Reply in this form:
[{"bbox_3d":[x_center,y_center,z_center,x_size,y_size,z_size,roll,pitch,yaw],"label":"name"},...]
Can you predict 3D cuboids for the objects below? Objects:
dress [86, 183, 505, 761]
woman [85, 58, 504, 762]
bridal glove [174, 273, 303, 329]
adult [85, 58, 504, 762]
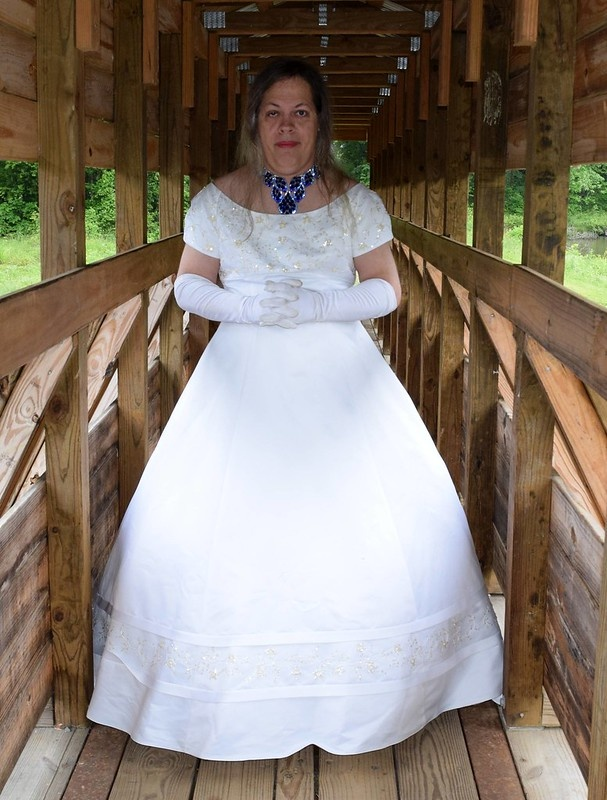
[{"bbox_3d":[0.011,0.253,1.822,1.090,1.971,0.992,-1,-27,3],"label":"dress"},{"bbox_3d":[0.015,-0.056,1.581,0.828,1.678,0.818,-1,7,-2],"label":"woman"},{"bbox_3d":[-0.190,-0.267,1.523,0.253,0.111,0.172,16,21,2],"label":"bridal glove"},{"bbox_3d":[0.024,-0.020,1.643,0.922,1.870,0.899,-5,-1,3],"label":"adult"}]
